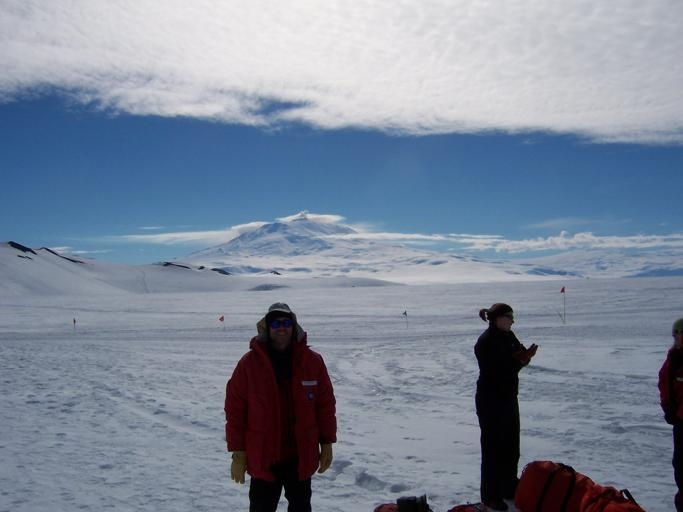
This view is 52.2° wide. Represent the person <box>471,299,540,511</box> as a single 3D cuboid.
[{"bbox_3d":[2.739,2.534,11.981,0.850,3.452,0.638,0,1,0],"label":"person"}]

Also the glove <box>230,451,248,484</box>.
[{"bbox_3d":[-1.634,3.302,10.955,0.387,0.440,0.198,-7,-19,25],"label":"glove"}]

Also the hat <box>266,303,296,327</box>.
[{"bbox_3d":[-1.012,0.920,11.199,0.382,0.228,0.426,1,-33,-6],"label":"hat"}]
